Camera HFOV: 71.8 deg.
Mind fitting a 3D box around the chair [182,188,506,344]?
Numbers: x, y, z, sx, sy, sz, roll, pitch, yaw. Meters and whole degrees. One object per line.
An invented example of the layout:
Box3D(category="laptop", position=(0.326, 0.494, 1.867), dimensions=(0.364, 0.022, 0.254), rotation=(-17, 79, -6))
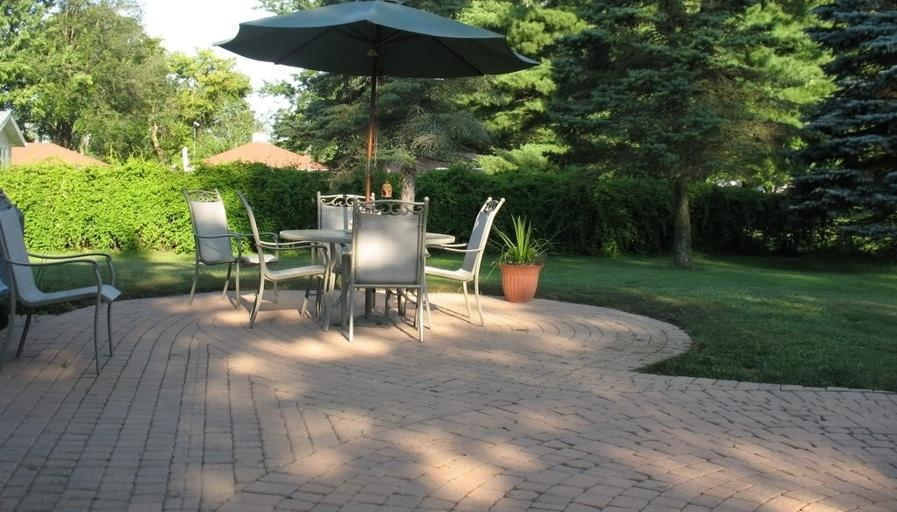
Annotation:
Box3D(category="chair", position=(-0.946, 0.152, 8.960), dimensions=(3.307, 1.910, 1.706), rotation=(-1, 5, 4))
